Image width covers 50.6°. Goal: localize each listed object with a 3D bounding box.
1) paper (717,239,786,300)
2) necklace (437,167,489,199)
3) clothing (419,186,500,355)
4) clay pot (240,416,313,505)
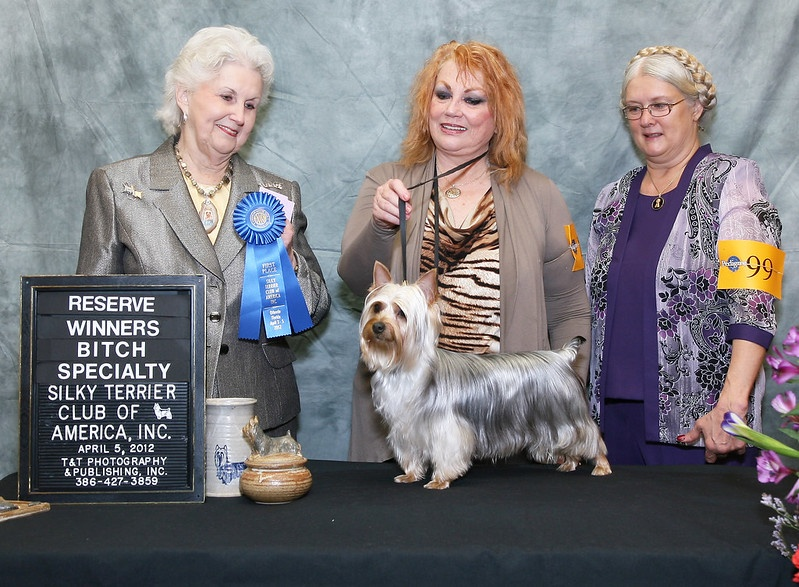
[{"bbox_3d":[1.551,-0.091,3.678,0.332,0.241,0.215,9,-5,-37],"label":"paper"},{"bbox_3d":[0.316,-0.522,4.024,0.198,0.159,0.052,-13,-10,-18],"label":"necklace"},{"bbox_3d":[0.284,-0.100,3.893,0.388,0.999,0.110,-5,37,0],"label":"clothing"},{"bbox_3d":[-0.452,0.608,3.103,0.270,0.312,0.276,4,1,0],"label":"clay pot"}]
